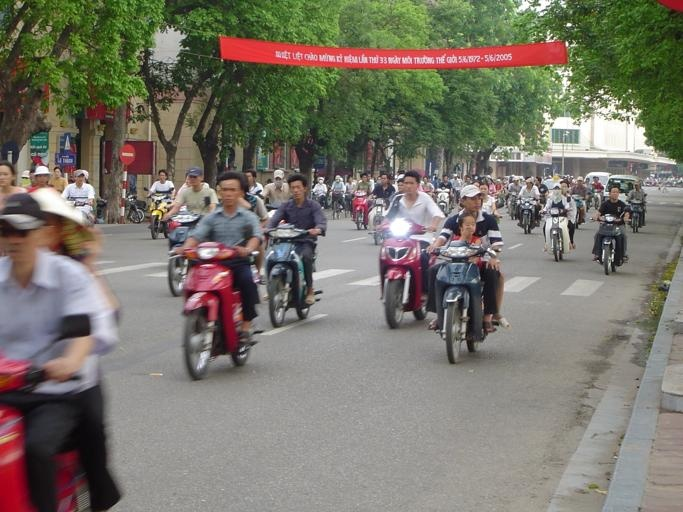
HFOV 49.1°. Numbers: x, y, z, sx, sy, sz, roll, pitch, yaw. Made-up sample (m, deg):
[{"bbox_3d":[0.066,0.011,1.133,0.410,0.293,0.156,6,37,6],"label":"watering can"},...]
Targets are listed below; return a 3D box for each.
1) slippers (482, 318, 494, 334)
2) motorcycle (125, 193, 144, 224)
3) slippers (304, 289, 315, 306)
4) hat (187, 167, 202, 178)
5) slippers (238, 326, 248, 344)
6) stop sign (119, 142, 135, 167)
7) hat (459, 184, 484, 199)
[{"bbox_3d":[1.756,0.843,8.844,0.102,0.089,0.206,-3,-3,-2],"label":"slippers"},{"bbox_3d":[-8.720,-1.968,31.634,0.768,0.986,1.607,-4,9,-24],"label":"motorcycle"},{"bbox_3d":[-0.454,0.583,10.615,0.143,0.120,0.425,-2,13,1],"label":"slippers"},{"bbox_3d":[-2.454,-1.392,12.467,0.219,0.189,0.265,-2,8,-15],"label":"hat"},{"bbox_3d":[-1.024,0.833,7.846,0.065,0.204,0.087,-4,18,-4],"label":"slippers"},{"bbox_3d":[-8.238,-3.941,28.690,0.470,0.723,1.053,-3,8,-19],"label":"stop sign"},{"bbox_3d":[1.565,-0.811,9.004,0.180,0.140,0.249,-5,-7,-17],"label":"hat"}]
